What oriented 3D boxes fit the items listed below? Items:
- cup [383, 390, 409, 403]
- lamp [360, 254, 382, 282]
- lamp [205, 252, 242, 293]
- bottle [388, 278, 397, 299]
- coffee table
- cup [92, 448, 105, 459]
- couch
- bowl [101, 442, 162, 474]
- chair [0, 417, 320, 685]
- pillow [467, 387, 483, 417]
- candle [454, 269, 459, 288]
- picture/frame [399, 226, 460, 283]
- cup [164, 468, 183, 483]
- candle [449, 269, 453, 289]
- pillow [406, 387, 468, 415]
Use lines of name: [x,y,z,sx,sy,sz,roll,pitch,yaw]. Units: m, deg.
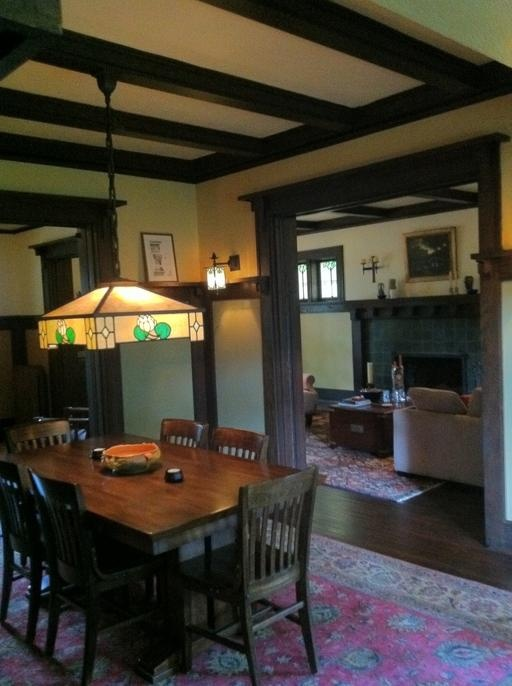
cup: [1.672,0.665,6.439,0.222,0.128,0.217,0,2,0]
lamp: [1.818,-1.171,8.475,0.357,0.426,0.111,0,5,45]
lamp: [-0.332,-0.645,5.060,0.339,0.478,0.377,-2,3,-36]
bottle: [2.109,-0.836,8.187,0.137,0.311,0.274,-2,3,12]
coffee table: [1.387,0.978,6.349,0.897,0.535,0.895,0,3,22]
cup: [-0.983,0.677,3.293,0.096,0.064,0.073,1,5,10]
couch: [1.791,0.838,5.081,0.806,0.833,0.808,1,2,38]
bowl: [-0.700,0.642,2.947,0.197,0.079,0.196,0,4,0]
chair: [-0.517,1.018,2.725,1.089,0.954,1.671,-6,4,-43]
pillow: [1.951,0.523,4.737,0.105,0.232,0.231,-1,3,26]
candle: [2.834,-0.917,7.540,0.068,0.238,0.025,-1,4,26]
picture/frame: [2.579,-1.302,7.768,0.864,0.842,0.070,7,12,41]
cup: [-0.416,0.673,2.737,0.069,0.039,0.069,3,6,0]
candle: [2.784,-0.909,7.594,0.023,0.230,0.081,-4,3,-12]
pillow: [1.678,0.539,4.892,0.310,0.121,0.320,14,-23,36]
